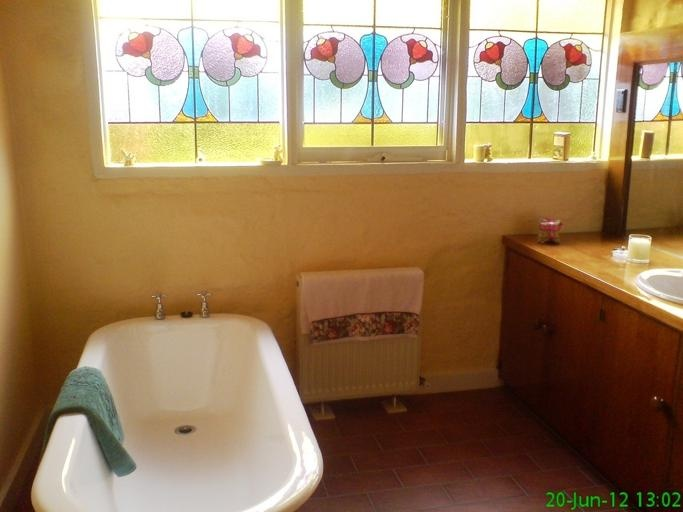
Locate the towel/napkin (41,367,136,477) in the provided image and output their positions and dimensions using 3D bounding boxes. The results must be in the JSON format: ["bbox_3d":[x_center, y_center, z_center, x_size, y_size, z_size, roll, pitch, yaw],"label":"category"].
[{"bbox_3d":[-1.135,0.732,2.498,0.331,0.342,0.762,-2,2,-24],"label":"towel/napkin"}]

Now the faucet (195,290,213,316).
[{"bbox_3d":[-0.746,0.248,3.046,0.069,0.169,0.172,-6,16,-13],"label":"faucet"}]

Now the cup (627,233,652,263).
[{"bbox_3d":[1.515,-0.044,2.905,0.131,0.160,0.130,0,11,0],"label":"cup"}]

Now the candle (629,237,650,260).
[{"bbox_3d":[1.501,-0.035,2.889,0.103,0.124,0.106,-1,11,-3],"label":"candle"}]

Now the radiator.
[{"bbox_3d":[0.096,0.483,3.126,0.769,0.909,0.172,-2,13,-10],"label":"radiator"}]
